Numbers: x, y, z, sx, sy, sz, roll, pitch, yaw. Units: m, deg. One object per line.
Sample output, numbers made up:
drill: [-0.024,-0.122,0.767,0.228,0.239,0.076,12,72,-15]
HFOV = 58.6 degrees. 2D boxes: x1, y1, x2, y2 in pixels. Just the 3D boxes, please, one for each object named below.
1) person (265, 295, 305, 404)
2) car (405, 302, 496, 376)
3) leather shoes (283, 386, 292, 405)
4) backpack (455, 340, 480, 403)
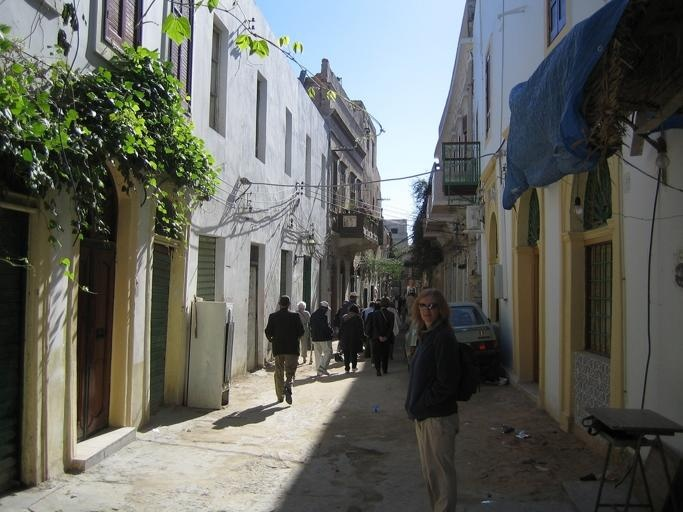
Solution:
person: [-1.001,1.654,10.993,0.565,1.992,0.696,0,-1,12]
car: [2.706,1.885,13.262,1.186,1.282,2.306,-2,3,-1]
leather shoes: [-0.926,2.416,10.724,0.103,0.365,0.219,-6,-9,7]
backpack: [1.187,1.061,5.847,0.249,0.607,0.378,-3,19,-1]
